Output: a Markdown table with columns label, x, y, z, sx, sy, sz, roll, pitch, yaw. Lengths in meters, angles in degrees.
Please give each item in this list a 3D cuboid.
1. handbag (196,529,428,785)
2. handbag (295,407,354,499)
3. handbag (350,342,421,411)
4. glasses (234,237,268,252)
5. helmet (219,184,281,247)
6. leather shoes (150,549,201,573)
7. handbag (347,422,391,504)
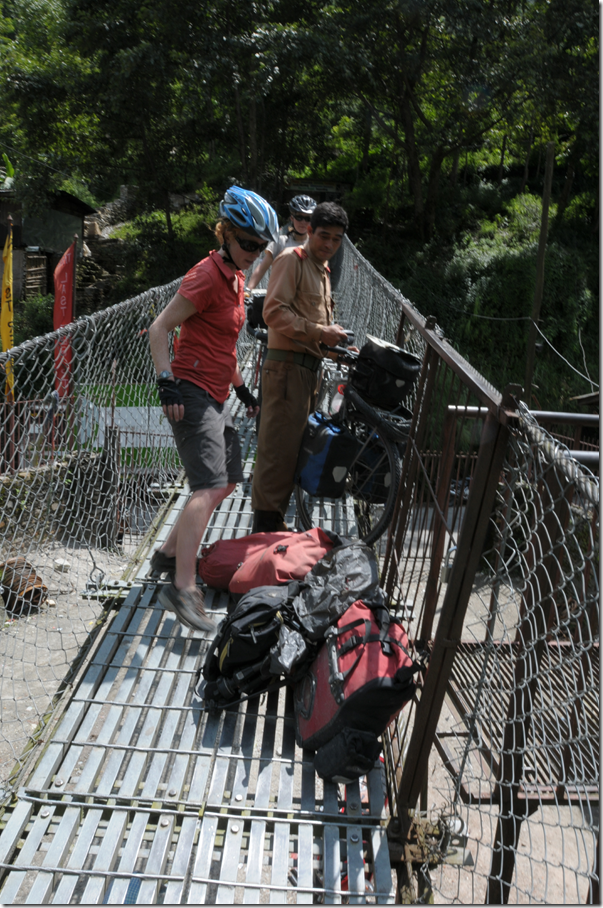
| label | x | y | z | sx | sy | sz | roll | pitch | yaw |
| --- | --- | --- | --- | --- | --- | --- | --- | --- | --- |
| handbag | 0.098 | 0.592 | 1.993 | 0.345 | 0.740 | 0.529 | 34 | -20 | -36 |
| handbag | 0.115 | 0.014 | 3.207 | 0.214 | 0.369 | 0.278 | 4 | 17 | -39 |
| handbag | 0.374 | -0.346 | 2.924 | 0.237 | 0.310 | 0.264 | 10 | -24 | -11 |
| glasses | -0.194 | -0.789 | 2.502 | 0.065 | 0.024 | 0.067 | -5 | 32 | -43 |
| helmet | -0.201 | -0.889 | 2.494 | 0.276 | 0.102 | 0.195 | 48 | 40 | 17 |
| leather shoes | -0.543 | 0.462 | 2.872 | 0.244 | 0.127 | 0.094 | 0 | 7 | -14 |
| handbag | 0.335 | 0.081 | 3.178 | 0.084 | 0.306 | 0.281 | 2 | 4 | -45 |
